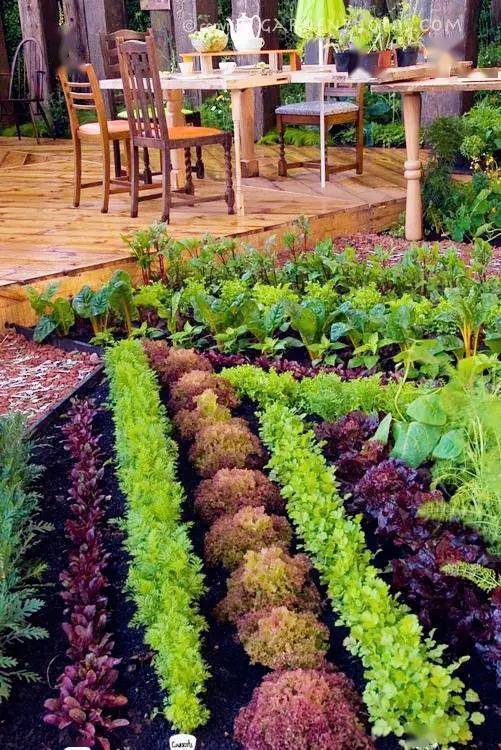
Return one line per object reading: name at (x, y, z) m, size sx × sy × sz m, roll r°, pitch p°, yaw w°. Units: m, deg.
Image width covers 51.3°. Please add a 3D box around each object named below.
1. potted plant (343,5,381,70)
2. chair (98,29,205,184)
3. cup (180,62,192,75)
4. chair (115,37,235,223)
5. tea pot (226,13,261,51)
potted plant at (0.883, -2.625, 4.099) m, size 0.258 × 0.570 × 0.519 m, roll -1°, pitch 17°, yaw 10°
chair at (-0.560, -1.813, 3.921) m, size 0.682 × 1.154 × 0.592 m, roll -22°, pitch 34°, yaw -38°
cup at (-0.525, -2.507, 4.305) m, size 0.113 × 0.100 × 0.119 m, roll -1°, pitch 9°, yaw 0°
chair at (-0.562, -1.794, 3.892) m, size 0.833 × 1.267 × 1.213 m, roll -4°, pitch 17°, yaw -2°
tea pot at (-0.037, -2.922, 4.476) m, size 0.248 × 0.342 × 0.313 m, roll -3°, pitch 17°, yaw 3°
